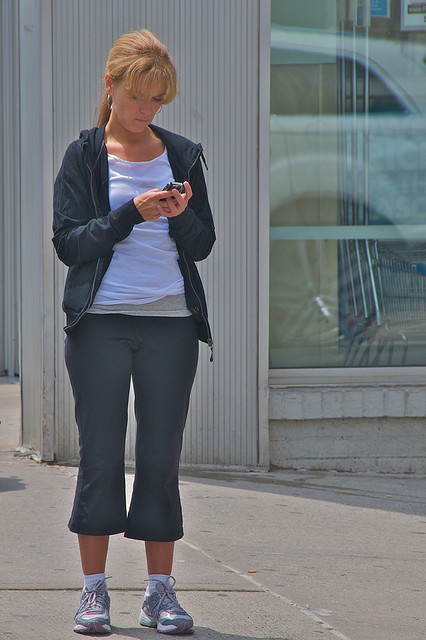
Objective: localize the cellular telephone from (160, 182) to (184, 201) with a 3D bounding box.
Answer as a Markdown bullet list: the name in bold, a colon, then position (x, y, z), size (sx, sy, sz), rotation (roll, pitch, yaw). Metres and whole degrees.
- **cellular telephone**: position (-0.135, -0.434, 3.600), size (0.025, 0.072, 0.049), rotation (38, -7, -29)

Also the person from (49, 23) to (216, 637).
- **person**: position (-0.327, -0.004, 4.162), size (0.561, 1.981, 1.274), rotation (2, 5, -8)

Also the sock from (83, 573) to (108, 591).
- **sock**: position (-0.391, 0.881, 3.691), size (0.047, 0.041, 0.050), rotation (-1, -2, -8)

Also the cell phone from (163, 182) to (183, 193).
- **cell phone**: position (-0.131, -0.426, 3.575), size (0.063, 0.031, 0.051), rotation (3, 5, -3)

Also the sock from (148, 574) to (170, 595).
- **sock**: position (-0.184, 0.893, 3.716), size (0.071, 0.064, 0.033), rotation (2, 4, -2)
